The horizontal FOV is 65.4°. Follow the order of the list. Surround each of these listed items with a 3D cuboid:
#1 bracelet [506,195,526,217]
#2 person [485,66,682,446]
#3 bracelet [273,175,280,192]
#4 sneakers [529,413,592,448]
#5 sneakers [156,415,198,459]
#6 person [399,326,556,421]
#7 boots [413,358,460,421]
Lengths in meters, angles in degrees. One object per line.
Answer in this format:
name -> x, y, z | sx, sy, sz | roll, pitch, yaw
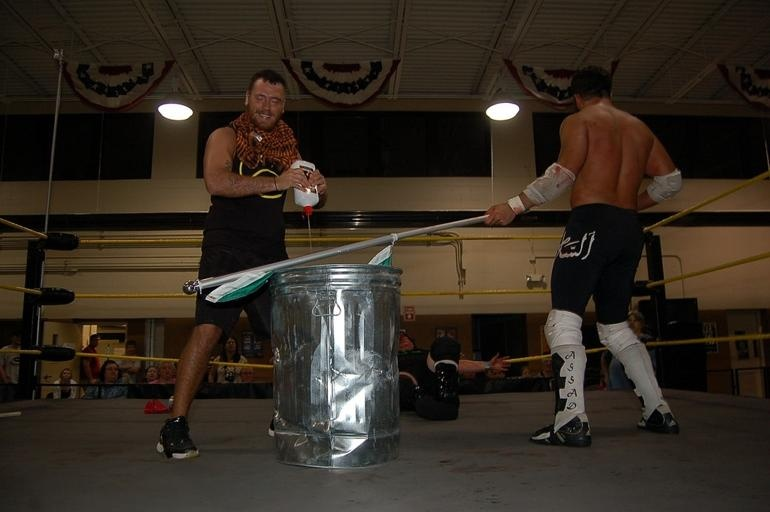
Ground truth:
bracelet -> 0.879, -0.343, 4.029 | 0.059, 0.098, 0.131 | -30, 13, -30
person -> 1.398, -0.067, 4.030 | 1.211, 2.533, 0.525 | 3, -12, -22
bracelet -> -0.705, -0.471, 3.882 | 0.034, 0.090, 0.102 | 0, -10, -9
sneakers -> 1.118, 1.116, 3.877 | 0.431, 0.294, 0.154 | 0, -13, 28
sneakers -> -1.245, 1.096, 3.587 | 0.143, 0.148, 0.324 | 7, -11, -33
person -> 0.470, 0.958, 5.155 | 1.491, 0.581, 1.602 | 4, -4, 1
boots -> 0.281, 1.029, 4.576 | 0.293, 0.476, 0.471 | 5, -14, -7
